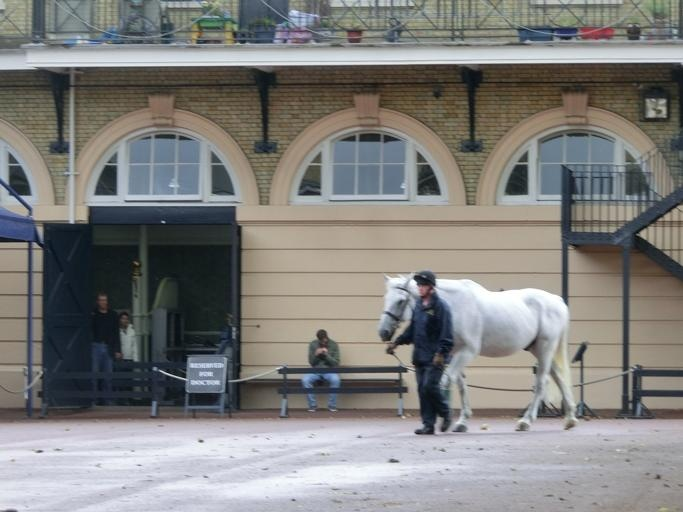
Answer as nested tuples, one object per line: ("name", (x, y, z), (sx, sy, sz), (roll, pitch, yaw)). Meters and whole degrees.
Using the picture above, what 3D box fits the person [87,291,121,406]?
("person", (-4.582, 1.782, 41.251), (0.569, 2.093, 1.218), (-3, -2, -6))

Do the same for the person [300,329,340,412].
("person", (-0.476, 2.164, 40.519), (0.722, 1.566, 1.224), (-3, -2, 0))

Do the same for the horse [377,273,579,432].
("horse", (2.283, 1.717, 36.912), (4.448, 2.592, 1.041), (5, -9, -37))
